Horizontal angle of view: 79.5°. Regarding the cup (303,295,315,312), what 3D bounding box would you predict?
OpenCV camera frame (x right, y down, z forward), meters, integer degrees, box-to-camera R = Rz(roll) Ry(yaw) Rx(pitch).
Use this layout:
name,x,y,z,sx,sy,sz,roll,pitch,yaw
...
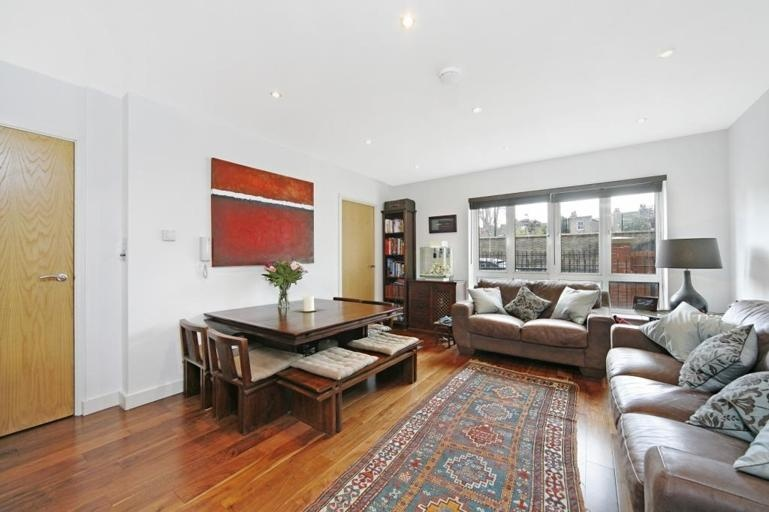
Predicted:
name,x,y,z,sx,sy,sz,roll,pitch,yaw
cup,-0.851,0.537,5.255,0.148,0.170,0.152,1,1,0

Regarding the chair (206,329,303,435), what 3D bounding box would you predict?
name,x,y,z,sx,sy,sz,roll,pitch,yaw
chair,-1.351,1.175,4.804,0.885,1.055,0.941,1,2,36

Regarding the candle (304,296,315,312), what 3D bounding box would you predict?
name,x,y,z,sx,sy,sz,roll,pitch,yaw
candle,-0.848,0.546,5.245,0.138,0.160,0.141,1,1,24

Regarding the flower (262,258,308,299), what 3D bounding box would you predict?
name,x,y,z,sx,sy,sz,roll,pitch,yaw
flower,-1.217,0.300,5.536,0.473,0.447,0.487,4,9,24

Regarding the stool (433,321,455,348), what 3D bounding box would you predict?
name,x,y,z,sx,sy,sz,roll,pitch,yaw
stool,0.904,1.114,6.899,0.331,0.342,0.359,-4,-1,24

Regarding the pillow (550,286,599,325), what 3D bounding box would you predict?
name,x,y,z,sx,sy,sz,roll,pitch,yaw
pillow,2.381,0.568,5.774,0.140,0.445,0.465,35,-8,-16
